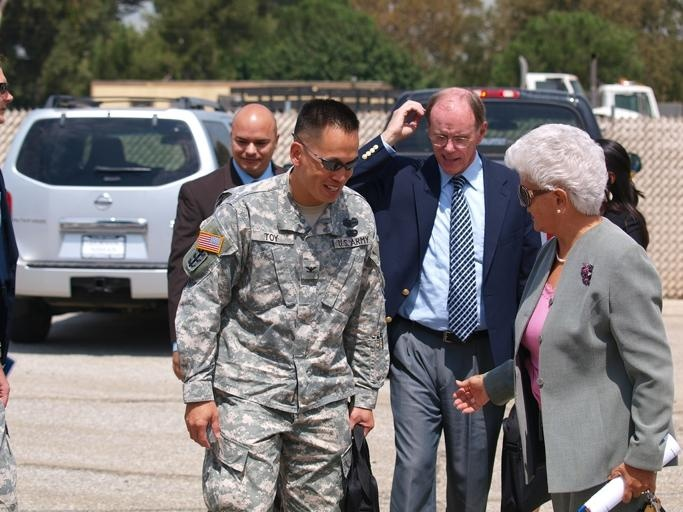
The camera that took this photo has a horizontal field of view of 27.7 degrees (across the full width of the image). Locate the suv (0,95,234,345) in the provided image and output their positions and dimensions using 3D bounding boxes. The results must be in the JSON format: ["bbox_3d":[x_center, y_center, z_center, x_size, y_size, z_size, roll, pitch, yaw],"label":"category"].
[{"bbox_3d":[-2.247,-0.465,12.974,1.389,1.365,2.449,1,10,2],"label":"suv"}]

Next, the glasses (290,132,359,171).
[{"bbox_3d":[-0.104,-0.669,9.048,0.285,0.079,0.214,41,16,36],"label":"glasses"}]
